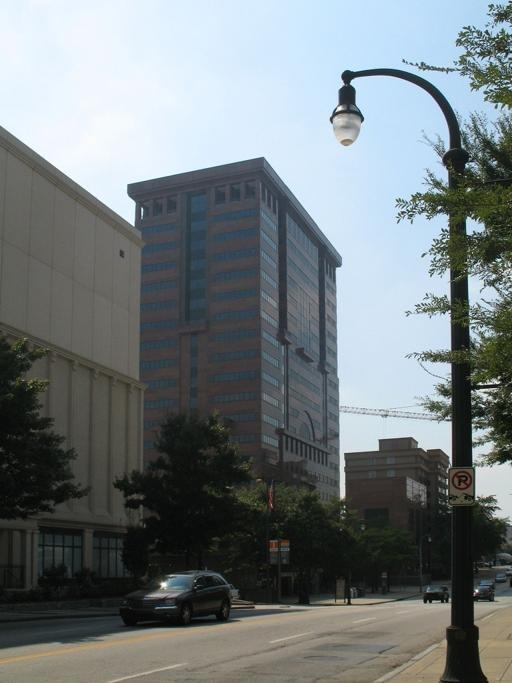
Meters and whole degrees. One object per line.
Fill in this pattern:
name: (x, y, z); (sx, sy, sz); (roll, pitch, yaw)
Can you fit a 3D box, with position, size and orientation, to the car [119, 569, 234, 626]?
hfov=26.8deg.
car: (-2.029, 6.737, 28.308); (1.533, 1.364, 4.822); (-6, -15, 17)
